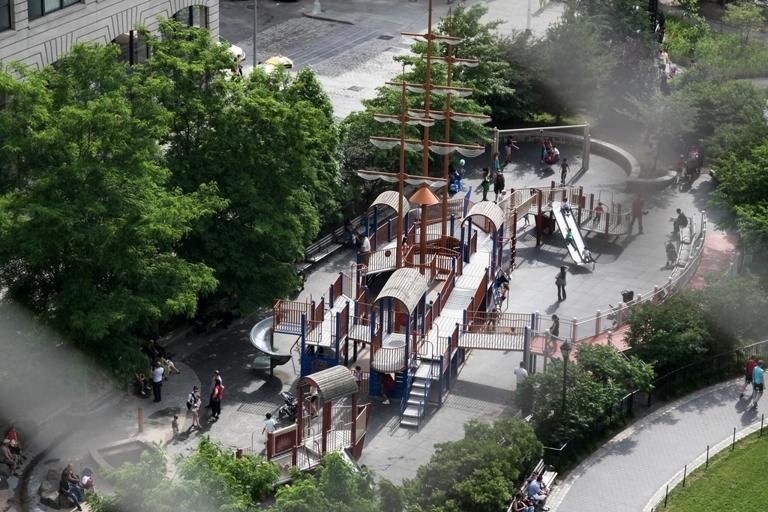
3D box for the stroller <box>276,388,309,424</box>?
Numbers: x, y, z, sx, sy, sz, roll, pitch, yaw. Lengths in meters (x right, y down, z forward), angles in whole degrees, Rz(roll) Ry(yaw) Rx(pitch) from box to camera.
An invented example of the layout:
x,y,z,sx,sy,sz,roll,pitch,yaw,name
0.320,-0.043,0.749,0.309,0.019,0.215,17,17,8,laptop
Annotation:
x,y,z,sx,sy,sz,roll,pitch,yaw,name
-4.551,7.336,61.987,1.145,1.206,1.923,2,-13,-10,stroller
